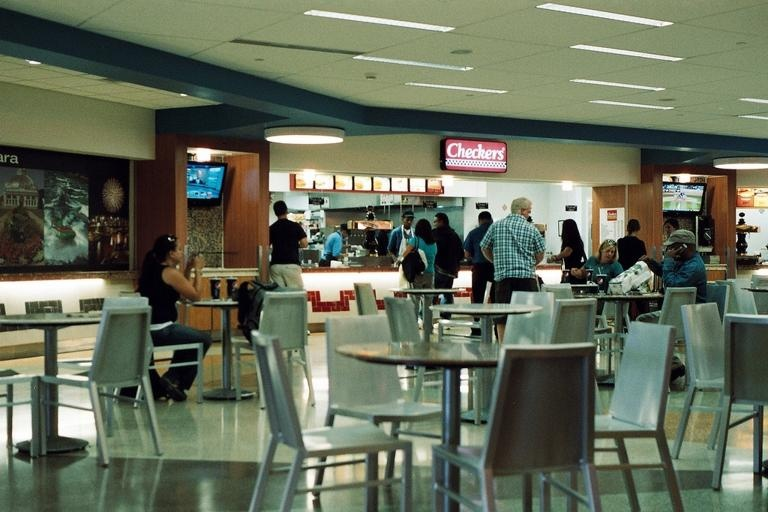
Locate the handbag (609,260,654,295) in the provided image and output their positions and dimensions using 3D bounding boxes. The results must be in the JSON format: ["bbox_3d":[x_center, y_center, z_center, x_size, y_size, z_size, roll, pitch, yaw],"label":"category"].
[{"bbox_3d":[3.009,0.293,8.366,0.225,0.254,0.788,4,17,41],"label":"handbag"}]

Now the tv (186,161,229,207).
[{"bbox_3d":[-3.054,-1.218,11.610,0.835,0.698,0.080,6,6,24],"label":"tv"}]

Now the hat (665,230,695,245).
[{"bbox_3d":[3.337,-0.209,7.703,0.299,0.126,0.196,4,-4,9],"label":"hat"}]
